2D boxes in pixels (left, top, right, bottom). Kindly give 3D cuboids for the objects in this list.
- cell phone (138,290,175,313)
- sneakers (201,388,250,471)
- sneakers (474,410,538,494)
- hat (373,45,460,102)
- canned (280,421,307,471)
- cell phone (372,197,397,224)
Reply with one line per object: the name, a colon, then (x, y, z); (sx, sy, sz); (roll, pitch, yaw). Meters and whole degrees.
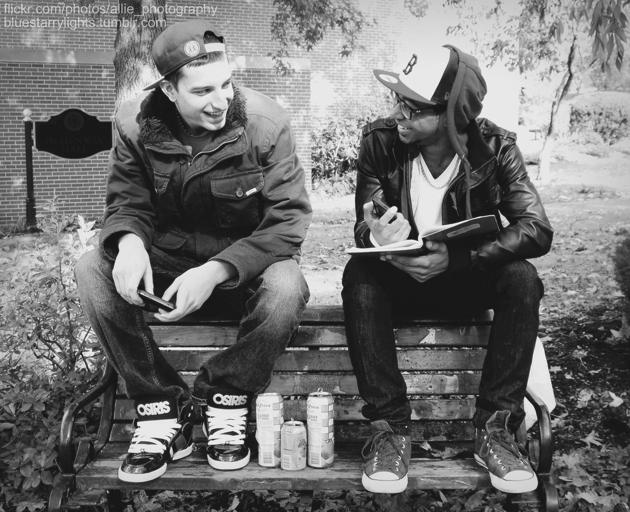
cell phone: (-0.800, 0.219, 3.250); (0.220, 0.102, 0.088); (9, 15, 29)
sneakers: (-0.457, 0.876, 3.267); (0.248, 0.350, 0.250); (-1, 12, -6)
sneakers: (0.923, 0.978, 3.265); (0.192, 0.303, 0.467); (-7, -3, -9)
hat: (0.534, -1.002, 3.396); (0.371, 0.210, 0.287); (30, 28, -11)
canned: (-0.109, 0.948, 3.216); (0.131, 0.228, 0.093); (0, 12, -3)
cell phone: (0.385, -0.258, 3.531); (0.030, 0.135, 0.133); (-29, -13, -18)
